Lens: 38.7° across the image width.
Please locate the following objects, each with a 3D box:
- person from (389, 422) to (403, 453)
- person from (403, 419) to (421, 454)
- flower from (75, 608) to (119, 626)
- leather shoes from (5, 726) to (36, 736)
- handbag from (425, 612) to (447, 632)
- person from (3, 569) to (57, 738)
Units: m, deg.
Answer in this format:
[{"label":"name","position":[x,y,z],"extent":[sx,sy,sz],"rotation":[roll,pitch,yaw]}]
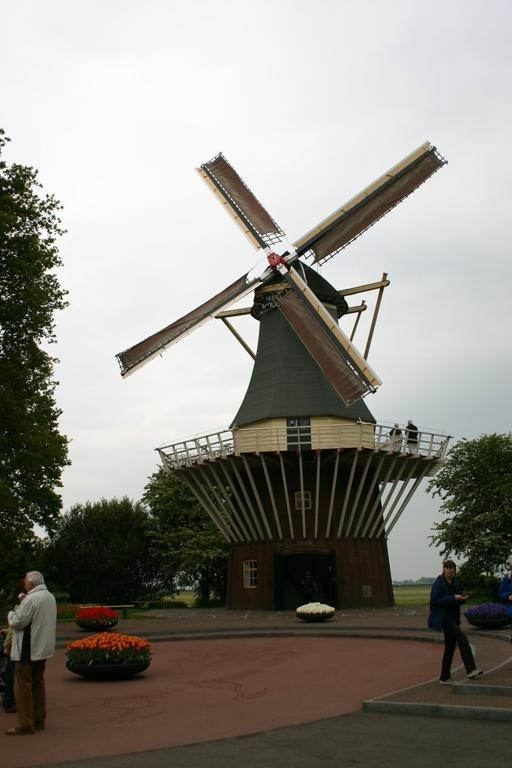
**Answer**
[{"label":"person","position":[5.420,2.155,28.371],"extent":[0.555,0.974,2.047],"rotation":[-2,-10,10]},{"label":"person","position":[6.242,2.118,29.156],"extent":[0.529,1.417,2.111],"rotation":[-2,-10,12]},{"label":"flower","position":[-4.219,6.165,19.263],"extent":[1.068,0.501,0.676],"rotation":[6,-12,-33]},{"label":"leather shoes","position":[-2.327,3.432,7.258],"extent":[0.294,0.104,0.097],"rotation":[6,-12,-2]},{"label":"handbag","position":[2.280,3.010,9.288],"extent":[0.125,0.235,0.260],"rotation":[3,-11,-16]},{"label":"person","position":[-2.337,2.778,7.589],"extent":[0.452,1.570,0.540],"rotation":[-1,-11,4]}]
